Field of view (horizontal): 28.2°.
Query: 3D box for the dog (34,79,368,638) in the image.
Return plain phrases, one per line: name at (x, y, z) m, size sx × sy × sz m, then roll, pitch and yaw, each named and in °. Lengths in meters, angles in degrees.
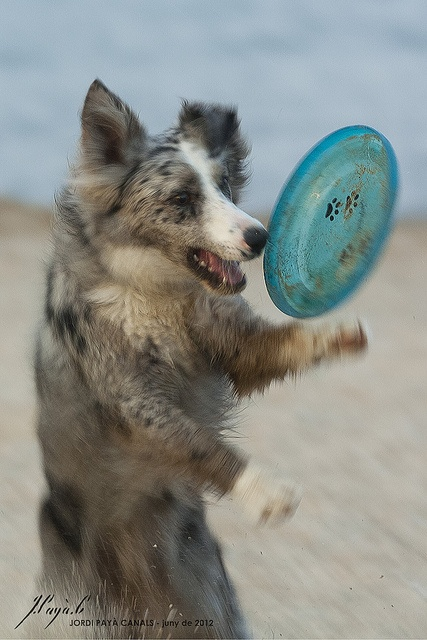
dog at (-0.205, 0.328, 3.619) m, size 1.220 × 2.491 × 0.875 m, roll 16°, pitch 28°, yaw 16°
